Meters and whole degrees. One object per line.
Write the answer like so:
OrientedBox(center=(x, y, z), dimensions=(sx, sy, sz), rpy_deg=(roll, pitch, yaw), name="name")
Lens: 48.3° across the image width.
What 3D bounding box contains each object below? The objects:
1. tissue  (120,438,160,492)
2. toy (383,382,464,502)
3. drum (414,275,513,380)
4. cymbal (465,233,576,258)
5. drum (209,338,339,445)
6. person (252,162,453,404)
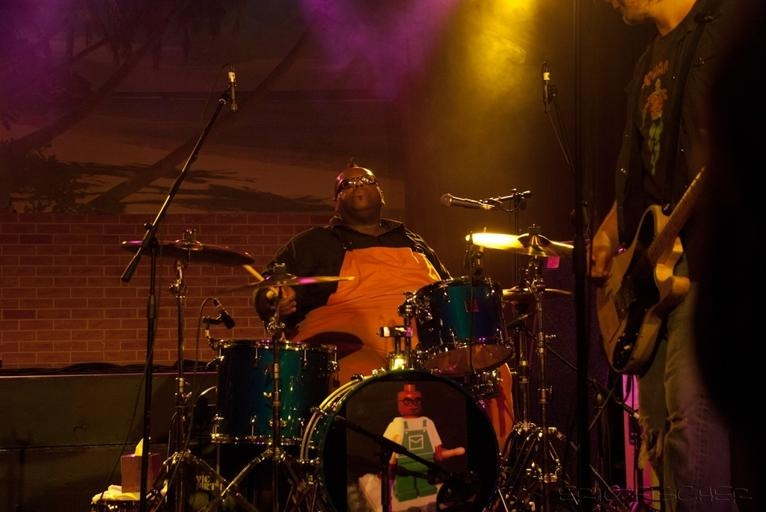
OrientedBox(center=(-1.738, 1.526, 6.002), dimensions=(0.207, 0.305, 0.230), rpy_deg=(1, -9, -22), name="tissue ")
OrientedBox(center=(0.251, 1.171, 5.235), dimensions=(0.584, 0.809, 0.431), rpy_deg=(4, -16, -24), name="toy")
OrientedBox(center=(0.546, 0.479, 5.626), dimensions=(0.627, 0.488, 0.638), rpy_deg=(-3, 16, 1), name="drum")
OrientedBox(center=(0.934, -0.075, 5.660), dimensions=(0.331, 0.077, 0.325), rpy_deg=(17, -8, -43), name="cymbal")
OrientedBox(center=(-0.773, 0.958, 5.967), dimensions=(0.835, 0.671, 0.861), rpy_deg=(1, -10, 0), name="drum")
OrientedBox(center=(-0.188, 0.214, 6.356), dimensions=(1.546, 2.209, 1.214), rpy_deg=(0, -51, -8), name="person")
